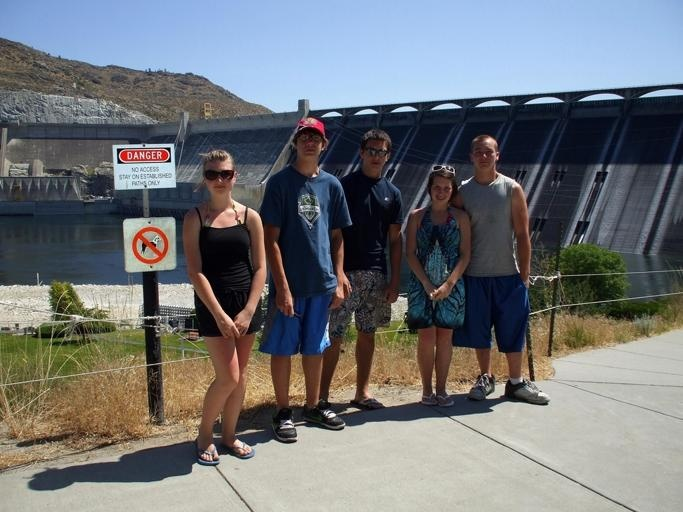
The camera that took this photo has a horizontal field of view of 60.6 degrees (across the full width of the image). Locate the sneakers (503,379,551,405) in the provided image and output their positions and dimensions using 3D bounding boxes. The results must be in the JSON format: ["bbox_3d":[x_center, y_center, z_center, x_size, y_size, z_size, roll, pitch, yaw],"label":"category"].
[{"bbox_3d":[1.698,1.261,5.361,0.396,0.186,0.152,2,4,30],"label":"sneakers"}]

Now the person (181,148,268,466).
[{"bbox_3d":[-0.857,0.347,4.349,0.601,2.233,0.603,-2,8,-16],"label":"person"}]

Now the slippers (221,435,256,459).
[{"bbox_3d":[-0.785,1.432,4.357,0.219,0.077,0.120,6,18,37],"label":"slippers"}]

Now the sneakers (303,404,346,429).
[{"bbox_3d":[-0.155,1.343,4.896,0.396,0.189,0.141,8,11,31],"label":"sneakers"}]

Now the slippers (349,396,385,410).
[{"bbox_3d":[0.213,1.326,5.273,0.252,0.102,0.119,-11,-10,40],"label":"slippers"}]

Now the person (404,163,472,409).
[{"bbox_3d":[0.862,0.267,5.311,0.570,2.118,0.463,2,8,9],"label":"person"}]

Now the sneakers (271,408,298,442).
[{"bbox_3d":[-0.449,1.346,4.583,0.109,0.148,0.308,-1,3,-21],"label":"sneakers"}]

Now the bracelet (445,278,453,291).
[{"bbox_3d":[0.963,0.262,5.245,0.067,0.108,0.055,1,8,7],"label":"bracelet"}]

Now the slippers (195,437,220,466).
[{"bbox_3d":[-0.981,1.421,4.244,0.189,0.137,0.197,0,8,-6],"label":"slippers"}]

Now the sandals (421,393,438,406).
[{"bbox_3d":[0.790,1.303,5.274,0.141,0.077,0.095,1,8,0],"label":"sandals"}]

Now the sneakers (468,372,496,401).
[{"bbox_3d":[1.322,1.237,5.534,0.126,0.181,0.378,12,-2,30],"label":"sneakers"}]

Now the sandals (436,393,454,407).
[{"bbox_3d":[0.936,1.298,5.258,0.159,0.094,0.103,-1,8,-14],"label":"sandals"}]
